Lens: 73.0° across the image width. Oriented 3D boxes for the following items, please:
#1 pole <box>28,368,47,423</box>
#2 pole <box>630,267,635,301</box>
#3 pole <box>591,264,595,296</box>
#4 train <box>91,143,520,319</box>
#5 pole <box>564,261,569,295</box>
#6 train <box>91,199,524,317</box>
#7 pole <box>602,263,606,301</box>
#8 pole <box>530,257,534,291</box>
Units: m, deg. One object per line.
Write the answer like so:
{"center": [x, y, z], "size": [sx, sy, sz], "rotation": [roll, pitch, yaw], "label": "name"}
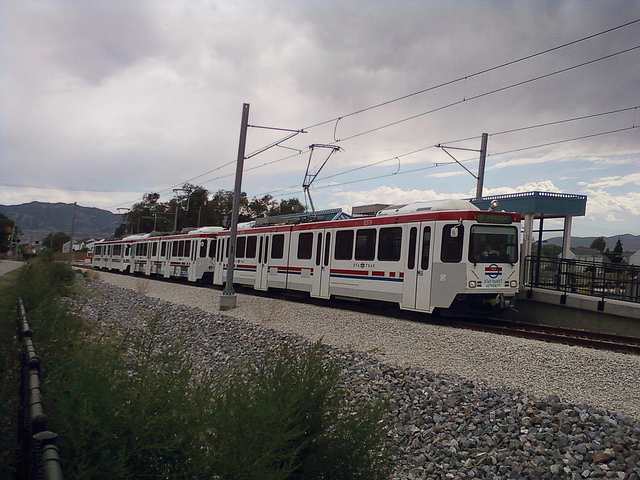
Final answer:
{"center": [-2.688, 1.473, 4.065], "size": [0.114, 0.625, 0.101], "rotation": [-11, 34, -39], "label": "pole"}
{"center": [11.466, 1.638, 15.869], "size": [0.085, 1.182, 0.219], "rotation": [3, -2, 23], "label": "pole"}
{"center": [11.002, 1.546, 17.460], "size": [0.038, 0.889, 0.137], "rotation": [4, -2, -16], "label": "pole"}
{"center": [-0.826, 0.173, 20.261], "size": [2.999, 3.653, 19.641], "rotation": [6, -5, -41], "label": "train"}
{"center": [10.625, 1.622, 18.678], "size": [0.091, 1.370, 0.308], "rotation": [2, -2, 29], "label": "pole"}
{"center": [-4.699, 0.901, 24.922], "size": [3.741, 3.390, 34.230], "rotation": [23, -17, -41], "label": "train"}
{"center": [11.142, 1.656, 16.970], "size": [0.082, 1.414, 0.312], "rotation": [2, -2, 31], "label": "pole"}
{"center": [10.116, 1.594, 20.665], "size": [0.116, 1.536, 0.613], "rotation": [3, -2, 27], "label": "pole"}
